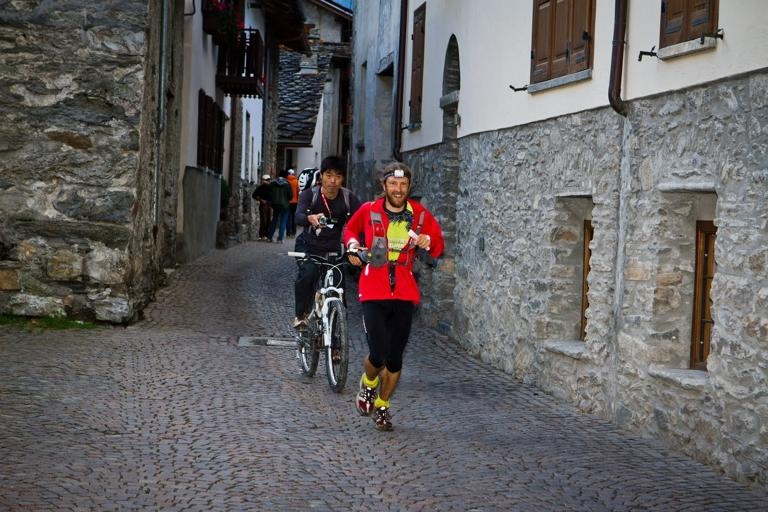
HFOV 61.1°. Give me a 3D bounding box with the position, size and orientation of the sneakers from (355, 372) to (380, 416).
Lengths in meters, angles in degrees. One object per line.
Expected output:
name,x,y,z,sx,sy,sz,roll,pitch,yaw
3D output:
sneakers,-0.162,1.304,6.082,0.145,0.462,0.187,7,-8,-24

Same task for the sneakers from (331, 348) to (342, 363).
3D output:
sneakers,-0.520,1.060,6.935,0.104,0.158,0.065,-14,-6,43

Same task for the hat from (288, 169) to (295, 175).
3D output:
hat,-3.756,-3.401,26.314,0.142,0.182,0.569,6,15,-7

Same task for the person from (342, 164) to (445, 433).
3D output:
person,0.046,0.337,5.934,0.862,2.359,0.621,2,7,-2

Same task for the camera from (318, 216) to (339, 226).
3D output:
camera,-0.626,-0.387,7.355,0.145,0.094,0.122,4,0,-13

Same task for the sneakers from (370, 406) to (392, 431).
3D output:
sneakers,-0.014,1.454,5.824,0.173,0.196,0.140,3,7,1
